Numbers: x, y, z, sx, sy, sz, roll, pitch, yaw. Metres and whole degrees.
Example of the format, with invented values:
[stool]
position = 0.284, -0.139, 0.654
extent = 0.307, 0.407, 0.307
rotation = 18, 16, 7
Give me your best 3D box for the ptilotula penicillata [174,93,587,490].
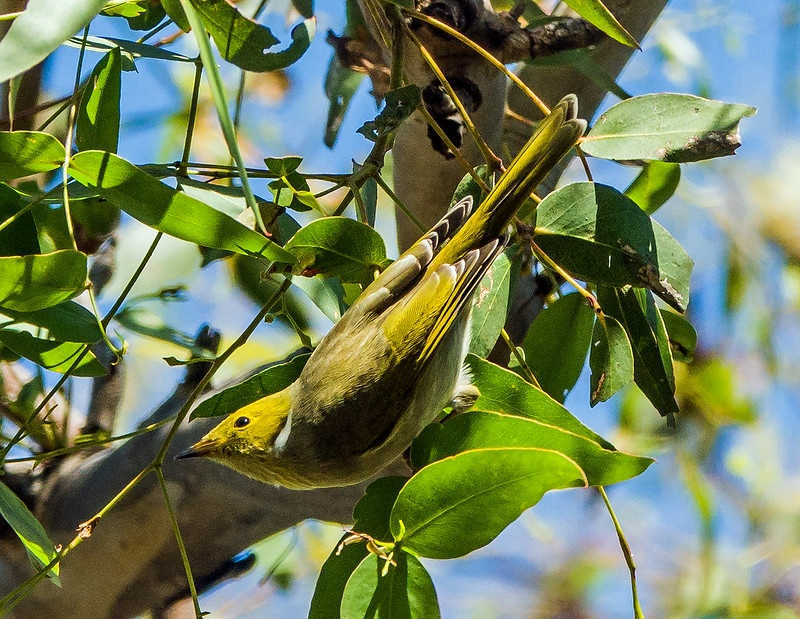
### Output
[ptilotula penicillata]
position = 0.036, 0.031, 1.630
extent = 0.324, 0.197, 0.677
rotation = 35, -78, -20
